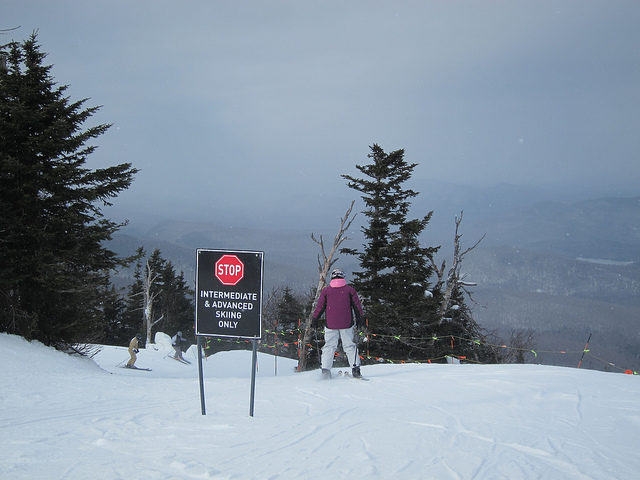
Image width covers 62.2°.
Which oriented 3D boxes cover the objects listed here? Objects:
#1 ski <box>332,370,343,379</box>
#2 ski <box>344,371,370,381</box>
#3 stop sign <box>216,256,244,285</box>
[{"bbox_3d":[0.431,3.192,12.647,0.102,0.121,0.343,-5,-15,-15],"label":"ski"},{"bbox_3d":[0.764,3.141,12.295,0.254,0.066,0.946,3,-2,-35],"label":"ski"},{"bbox_3d":[-1.553,0.529,9.180,0.479,0.492,0.066,2,-3,-8],"label":"stop sign"}]
